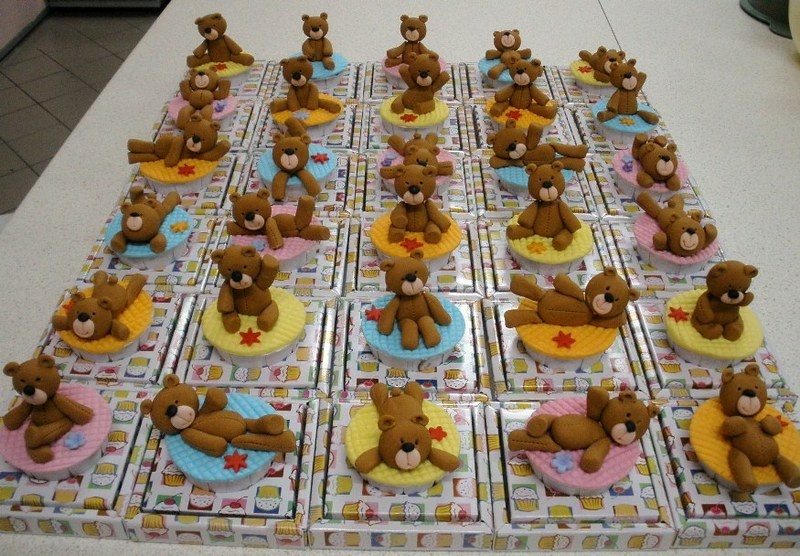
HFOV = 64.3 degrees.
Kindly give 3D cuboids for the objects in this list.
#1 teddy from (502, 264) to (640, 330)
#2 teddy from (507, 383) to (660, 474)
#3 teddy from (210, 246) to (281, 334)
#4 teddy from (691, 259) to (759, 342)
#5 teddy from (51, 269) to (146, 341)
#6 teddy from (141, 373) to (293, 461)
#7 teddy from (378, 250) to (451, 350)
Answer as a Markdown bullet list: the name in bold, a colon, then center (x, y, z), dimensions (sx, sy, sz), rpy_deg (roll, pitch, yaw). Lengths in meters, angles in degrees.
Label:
- **teddy**: center (1.189, 0.138, 4.399), dimensions (0.871, 0.356, 0.306), rpy_deg (1, 59, 0)
- **teddy**: center (1.119, 0.967, 3.976), dimensions (0.801, 0.358, 0.491), rpy_deg (-10, 37, -7)
- **teddy**: center (-1.068, 0.066, 4.457), dimensions (0.465, 0.568, 0.407), rpy_deg (-3, 30, -2)
- **teddy**: center (2.269, 0.172, 4.476), dimensions (0.426, 0.570, 0.403), rpy_deg (-2, 47, 1)
- **teddy**: center (-2.141, 0.143, 4.577), dimensions (0.534, 0.261, 0.642), rpy_deg (6, 34, -5)
- **teddy**: center (-1.108, 0.888, 4.021), dimensions (0.963, 0.395, 0.449), rpy_deg (6, 36, 9)
- **teddy**: center (0.084, 0.199, 4.504), dimensions (0.521, 0.595, 0.655), rpy_deg (-8, 59, -5)
